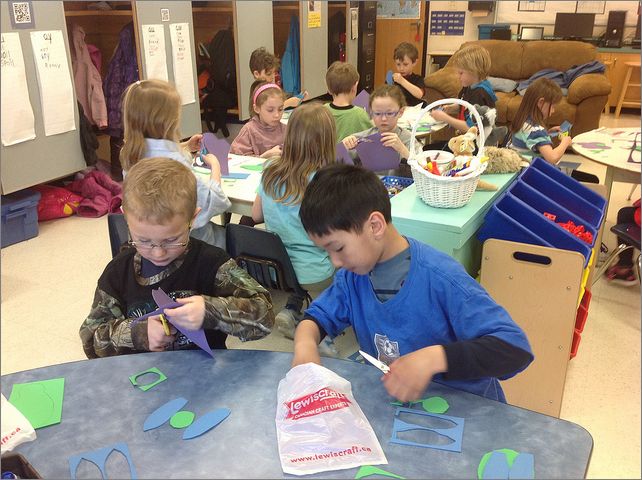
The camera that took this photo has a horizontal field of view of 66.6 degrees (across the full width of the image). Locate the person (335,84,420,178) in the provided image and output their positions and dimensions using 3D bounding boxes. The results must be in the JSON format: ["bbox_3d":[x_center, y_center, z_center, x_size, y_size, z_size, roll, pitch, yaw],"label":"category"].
[{"bbox_3d":[0.405,-0.637,3.226,0.477,0.722,0.491,-8,15,-38],"label":"person"}]

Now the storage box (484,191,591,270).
[{"bbox_3d":[0.943,-0.027,2.170,0.406,0.164,0.281,31,23,8],"label":"storage box"}]

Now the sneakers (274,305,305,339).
[{"bbox_3d":[-0.177,0.416,2.673,0.073,0.102,0.201,-14,-28,27],"label":"sneakers"}]

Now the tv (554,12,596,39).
[{"bbox_3d":[3.628,-3.084,7.027,0.386,0.285,0.106,15,30,24],"label":"tv"}]

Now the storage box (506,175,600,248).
[{"bbox_3d":[1.069,-0.067,2.371,0.394,0.164,0.258,39,44,11],"label":"storage box"}]

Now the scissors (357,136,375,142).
[{"bbox_3d":[0.263,-0.585,2.832,0.054,0.042,0.015,3,2,15],"label":"scissors"}]

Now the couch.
[{"bbox_3d":[2.405,-1.804,6.071,2.011,1.164,1.130,11,27,24],"label":"couch"}]

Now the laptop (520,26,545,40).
[{"bbox_3d":[3.130,-3.085,7.296,0.320,0.167,0.193,7,23,15],"label":"laptop"}]

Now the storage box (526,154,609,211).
[{"bbox_3d":[1.320,-0.290,2.600,0.393,0.163,0.258,29,32,14],"label":"storage box"}]

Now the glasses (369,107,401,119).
[{"bbox_3d":[0.414,-0.840,3.252,0.195,0.069,0.133,9,24,20],"label":"glasses"}]

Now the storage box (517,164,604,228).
[{"bbox_3d":[1.247,-0.221,2.616,0.446,0.221,0.301,31,49,22],"label":"storage box"}]

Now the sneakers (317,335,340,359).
[{"bbox_3d":[0.042,0.534,2.508,0.129,0.069,0.205,-3,15,-9],"label":"sneakers"}]

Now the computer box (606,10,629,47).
[{"bbox_3d":[4.153,-2.989,6.932,0.225,0.477,0.189,15,26,31],"label":"computer box"}]

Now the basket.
[{"bbox_3d":[0.564,-0.400,2.197,0.315,0.442,0.342,11,24,29],"label":"basket"}]
